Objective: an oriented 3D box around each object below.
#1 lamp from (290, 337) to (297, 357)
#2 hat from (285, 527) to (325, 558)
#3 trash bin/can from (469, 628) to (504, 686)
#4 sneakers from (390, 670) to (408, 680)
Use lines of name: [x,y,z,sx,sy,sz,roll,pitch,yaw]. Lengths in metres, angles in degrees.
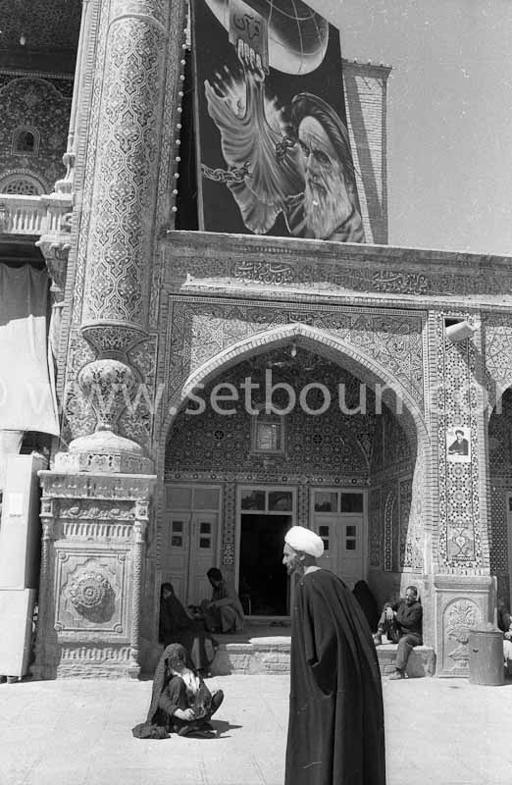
lamp: [0.393,-0.450,7.977,0.079,0.317,0.077,1,-4,4]
hat: [0.172,0.474,2.560,0.092,0.071,0.123,31,-3,1]
trash bin/can: [1.900,2.192,6.394,0.337,0.491,0.285,1,-19,4]
sneakers: [1.212,2.399,6.554,0.177,0.078,0.063,23,-30,-39]
